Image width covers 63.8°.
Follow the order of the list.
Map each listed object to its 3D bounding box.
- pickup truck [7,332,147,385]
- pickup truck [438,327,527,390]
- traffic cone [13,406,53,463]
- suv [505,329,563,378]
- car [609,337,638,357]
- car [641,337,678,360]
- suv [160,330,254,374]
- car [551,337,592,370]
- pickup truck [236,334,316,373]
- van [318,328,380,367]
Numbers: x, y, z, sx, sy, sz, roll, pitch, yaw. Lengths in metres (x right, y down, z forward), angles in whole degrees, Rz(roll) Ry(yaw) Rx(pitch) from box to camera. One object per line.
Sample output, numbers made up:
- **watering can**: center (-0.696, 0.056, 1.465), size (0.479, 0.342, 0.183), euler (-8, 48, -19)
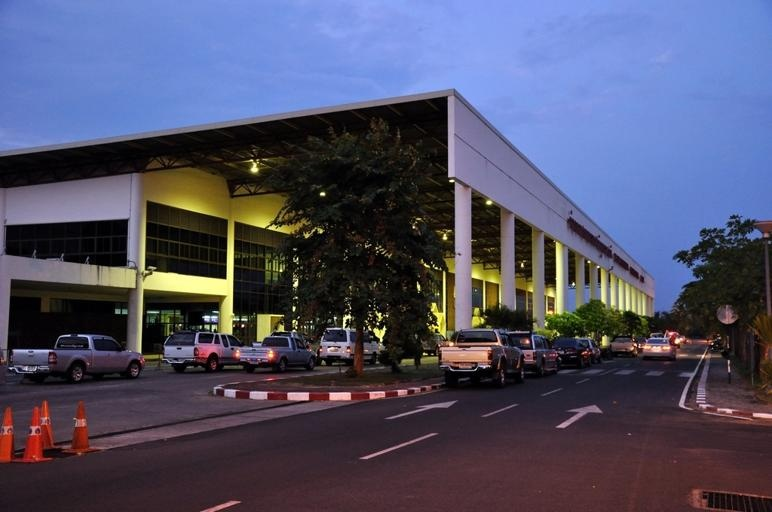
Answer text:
- **pickup truck**: center (-14.370, 4.917, 29.100), size (2.404, 2.324, 6.436), euler (-2, -4, 21)
- **pickup truck**: center (4.223, 4.494, 27.895), size (2.350, 2.568, 4.261), euler (-8, -11, 32)
- **traffic cone**: center (-7.290, 3.748, 12.841), size (0.656, 1.242, 0.605), euler (1, -2, -19)
- **suv**: center (7.935, 5.196, 33.855), size (1.914, 1.838, 4.641), euler (-2, -3, 25)
- **car**: center (24.789, 9.451, 64.719), size (2.529, 2.033, 3.184), euler (-5, -10, 20)
- **car**: center (23.877, 8.085, 54.324), size (2.056, 2.062, 3.275), euler (-9, -12, 35)
- **suv**: center (-10.882, 5.924, 38.402), size (3.132, 2.123, 6.068), euler (-4, -9, 29)
- **car**: center (12.794, 6.514, 41.981), size (1.795, 1.408, 4.211), euler (-2, -5, 30)
- **pickup truck**: center (-6.455, 5.901, 37.743), size (2.581, 2.029, 5.547), euler (-3, -8, 20)
- **van**: center (-2.548, 6.650, 43.323), size (3.090, 2.684, 4.909), euler (-3, -4, 33)
